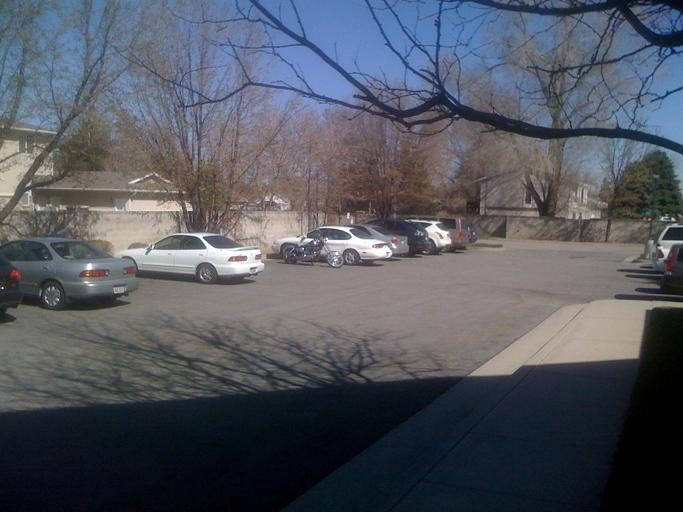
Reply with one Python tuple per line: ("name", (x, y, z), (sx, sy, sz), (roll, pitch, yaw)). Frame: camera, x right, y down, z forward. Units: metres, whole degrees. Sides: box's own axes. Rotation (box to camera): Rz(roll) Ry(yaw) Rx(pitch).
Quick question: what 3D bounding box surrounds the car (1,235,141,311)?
("car", (-7.158, 0.374, 13.561), (3.511, 1.253, 1.662), (9, 8, 28))
